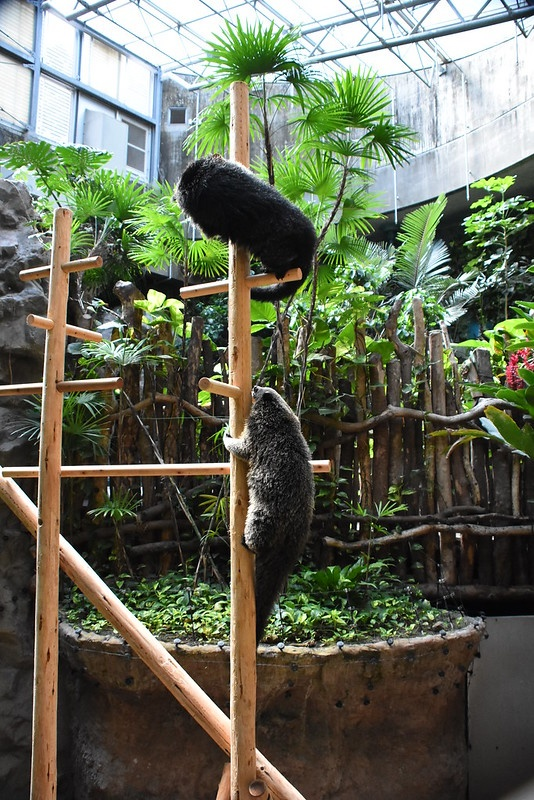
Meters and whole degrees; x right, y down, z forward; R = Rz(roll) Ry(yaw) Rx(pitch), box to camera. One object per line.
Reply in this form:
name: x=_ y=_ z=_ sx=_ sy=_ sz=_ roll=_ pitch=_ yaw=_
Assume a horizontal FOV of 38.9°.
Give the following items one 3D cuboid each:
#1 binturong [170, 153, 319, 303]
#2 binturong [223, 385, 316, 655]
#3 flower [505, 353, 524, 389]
binturong: x=-0.075 y=-0.710 z=2.938 sx=0.546 sy=0.391 sz=0.216 roll=2 pitch=-1 yaw=-7
binturong: x=0.064 y=0.447 z=2.864 sx=0.284 sy=0.937 sz=0.343 roll=9 pitch=-16 yaw=-33
flower: x=1.658 y=-0.199 z=5.109 sx=0.102 sy=0.238 sz=0.181 roll=1 pitch=21 yaw=1
